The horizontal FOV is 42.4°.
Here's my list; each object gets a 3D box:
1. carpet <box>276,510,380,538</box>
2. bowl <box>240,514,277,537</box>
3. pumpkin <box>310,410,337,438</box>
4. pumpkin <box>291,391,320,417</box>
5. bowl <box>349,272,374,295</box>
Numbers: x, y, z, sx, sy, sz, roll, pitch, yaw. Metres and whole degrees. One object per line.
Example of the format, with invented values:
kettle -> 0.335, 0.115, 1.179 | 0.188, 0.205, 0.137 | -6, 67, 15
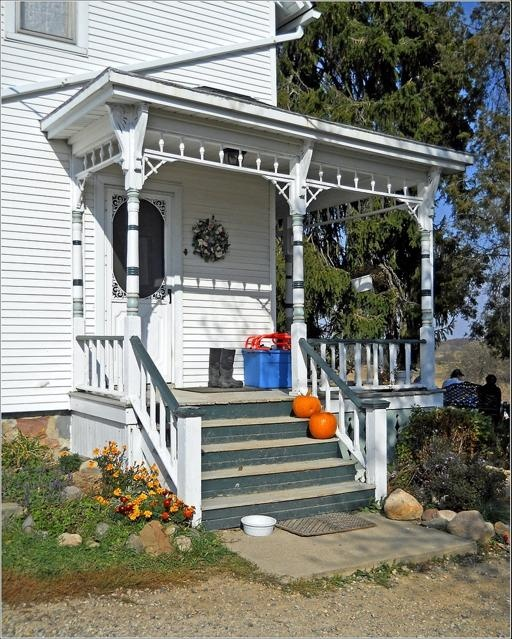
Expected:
carpet -> 0.601, 1.715, 5.593 | 0.869, 0.056, 0.535 | 2, 5, -32
bowl -> 0.012, 1.657, 5.338 | 0.276, 0.113, 0.294 | 4, 4, 0
pumpkin -> 0.677, 1.053, 6.765 | 0.231, 0.270, 0.253 | -5, -7, 29
pumpkin -> 0.533, 0.884, 7.016 | 0.208, 0.254, 0.232 | -2, -2, 20
bowl -> 1.581, -0.543, 9.865 | 0.255, 0.250, 0.796 | 4, 4, 7
